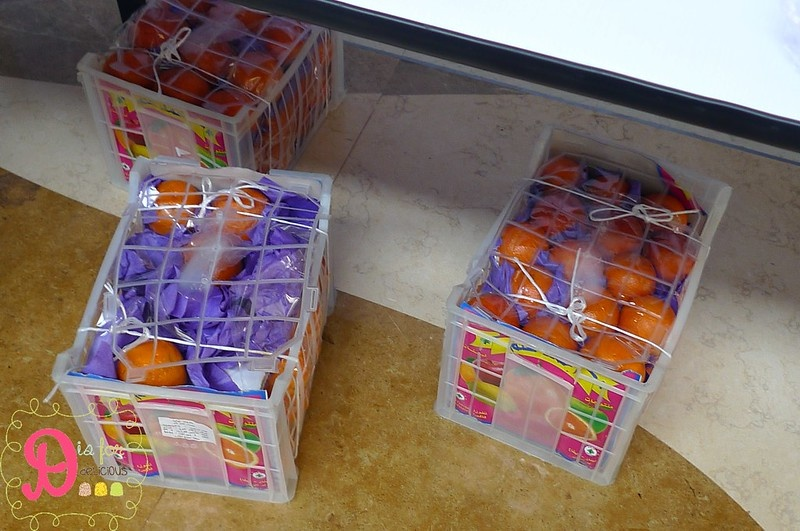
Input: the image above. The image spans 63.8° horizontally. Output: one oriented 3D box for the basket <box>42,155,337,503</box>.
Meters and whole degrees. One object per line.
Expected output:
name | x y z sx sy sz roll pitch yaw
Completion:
basket | -0.369 0.193 1.343 0.397 0.328 0.478 3 39 -5
